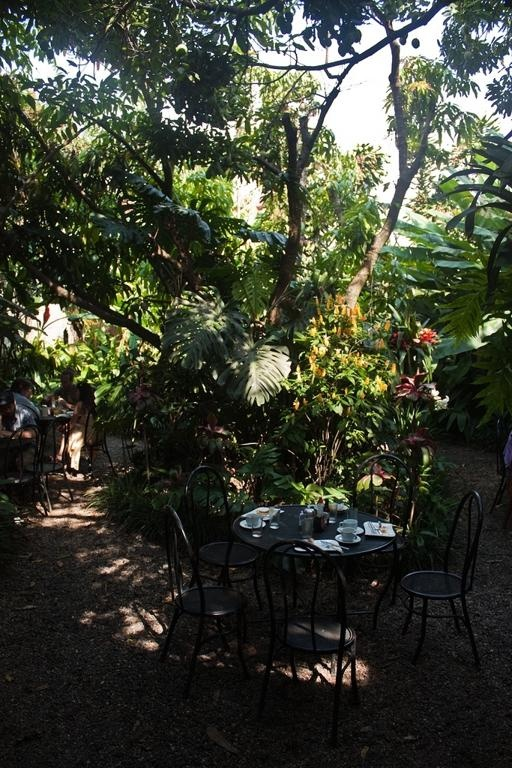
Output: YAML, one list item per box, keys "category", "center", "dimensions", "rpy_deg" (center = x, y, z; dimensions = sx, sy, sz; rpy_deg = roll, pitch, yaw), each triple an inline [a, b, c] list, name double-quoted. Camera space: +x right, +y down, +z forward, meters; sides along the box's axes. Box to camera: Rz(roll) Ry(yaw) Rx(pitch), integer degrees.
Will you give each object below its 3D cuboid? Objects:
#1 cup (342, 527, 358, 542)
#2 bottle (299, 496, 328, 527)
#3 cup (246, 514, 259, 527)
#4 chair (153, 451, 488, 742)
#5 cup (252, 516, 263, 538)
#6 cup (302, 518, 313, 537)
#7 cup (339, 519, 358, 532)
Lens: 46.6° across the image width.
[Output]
- category: "cup"
  center: [0.433, 0.692, 2.750]
  dimensions: [0.046, 0.047, 0.070]
  rpy_deg: [5, 2, 1]
- category: "bottle"
  center: [0.298, 0.649, 3.002]
  dimensions: [0.088, 0.136, 0.138]
  rpy_deg: [2, -14, -7]
- category: "cup"
  center: [-0.010, 0.685, 2.980]
  dimensions: [0.047, 0.036, 0.052]
  rpy_deg: [1, -7, 0]
- category: "chair"
  center: [0.460, 0.769, 2.977]
  dimensions: [1.227, 0.654, 1.209]
  rpy_deg: [-1, 6, -10]
- category: "cup"
  center: [0.007, 0.705, 2.926]
  dimensions: [0.050, 0.090, 0.090]
  rpy_deg: [1, -8, 1]
- category: "cup"
  center: [0.243, 0.674, 2.813]
  dimensions: [0.042, 0.084, 0.085]
  rpy_deg: [-1, 6, -1]
- category: "cup"
  center: [0.448, 0.676, 2.852]
  dimensions: [0.080, 0.056, 0.051]
  rpy_deg: [0, 4, 1]
